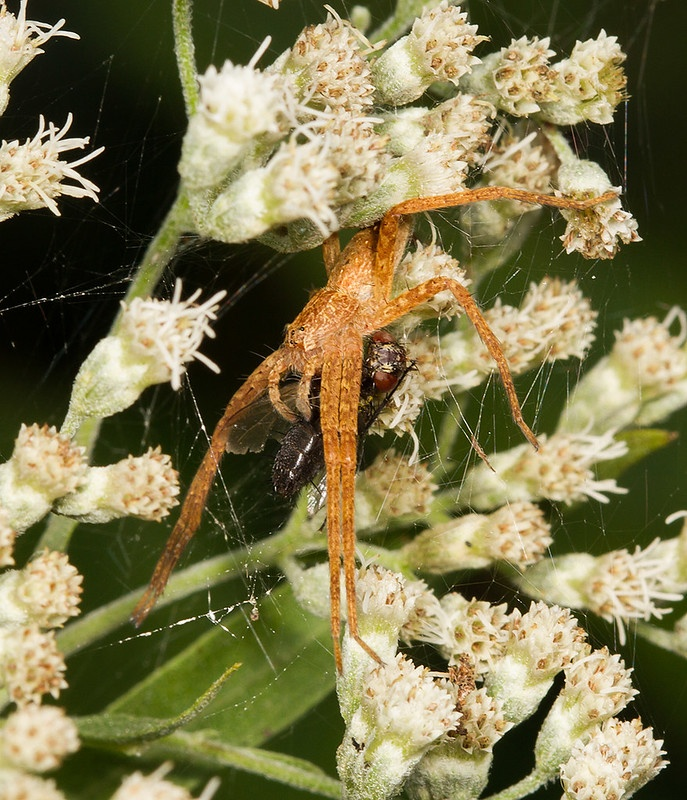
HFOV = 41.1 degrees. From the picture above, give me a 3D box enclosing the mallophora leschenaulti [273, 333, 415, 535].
[{"bbox_3d":[0.006,0.078,2.429,0.265,0.292,0.496,3,94,11],"label":"mallophora leschenaulti"}]
